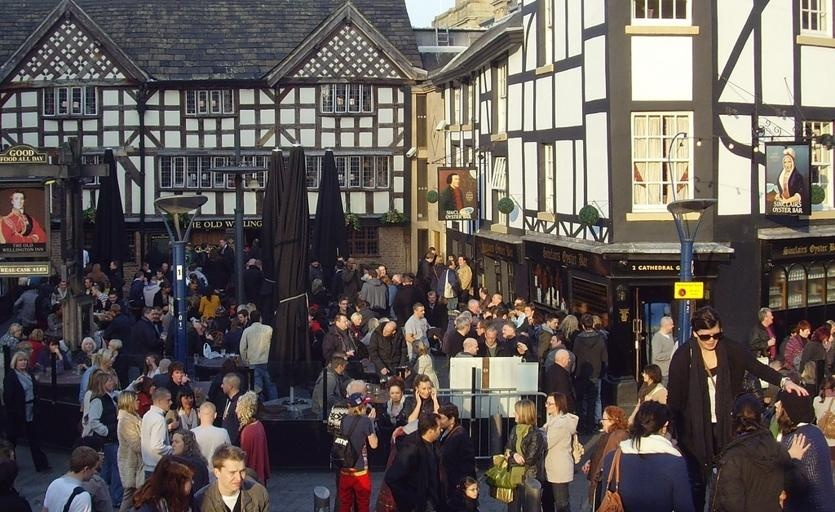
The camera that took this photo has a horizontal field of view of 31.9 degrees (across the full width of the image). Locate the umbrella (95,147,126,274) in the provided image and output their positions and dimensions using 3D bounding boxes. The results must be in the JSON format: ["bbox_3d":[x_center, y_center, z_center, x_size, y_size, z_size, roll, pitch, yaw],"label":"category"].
[{"bbox_3d":[-9.595,-1.110,45.493,1.164,4.853,1.041,2,-1,-3],"label":"umbrella"}]

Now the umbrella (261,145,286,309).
[{"bbox_3d":[-3.742,-0.861,37.286,1.037,4.423,0.934,2,0,-3],"label":"umbrella"}]

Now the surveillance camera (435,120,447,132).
[{"bbox_3d":[0.797,-4.605,51.788,0.170,0.490,0.478,24,-11,-35],"label":"surveillance camera"}]
